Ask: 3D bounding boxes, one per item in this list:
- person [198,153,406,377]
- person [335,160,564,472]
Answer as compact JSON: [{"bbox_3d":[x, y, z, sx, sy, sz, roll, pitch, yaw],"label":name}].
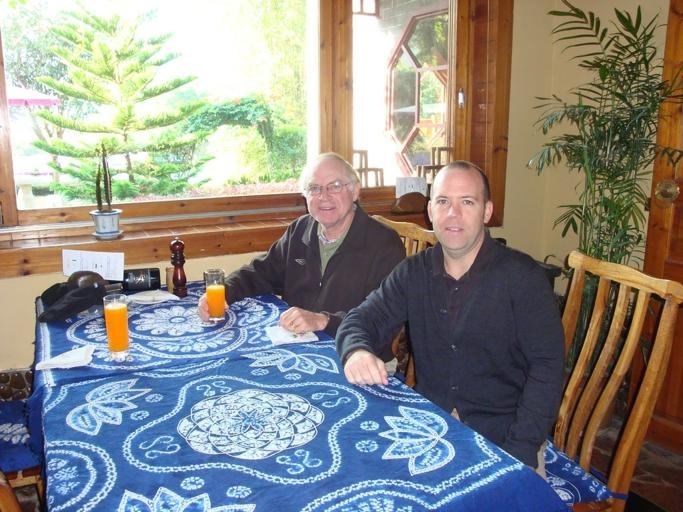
[{"bbox_3d":[-0.086,-0.049,2.168,0.903,0.703,0.666,4,7,39],"label":"person"},{"bbox_3d":[0.344,0.253,1.693,0.742,1.017,0.667,2,15,20],"label":"person"}]
